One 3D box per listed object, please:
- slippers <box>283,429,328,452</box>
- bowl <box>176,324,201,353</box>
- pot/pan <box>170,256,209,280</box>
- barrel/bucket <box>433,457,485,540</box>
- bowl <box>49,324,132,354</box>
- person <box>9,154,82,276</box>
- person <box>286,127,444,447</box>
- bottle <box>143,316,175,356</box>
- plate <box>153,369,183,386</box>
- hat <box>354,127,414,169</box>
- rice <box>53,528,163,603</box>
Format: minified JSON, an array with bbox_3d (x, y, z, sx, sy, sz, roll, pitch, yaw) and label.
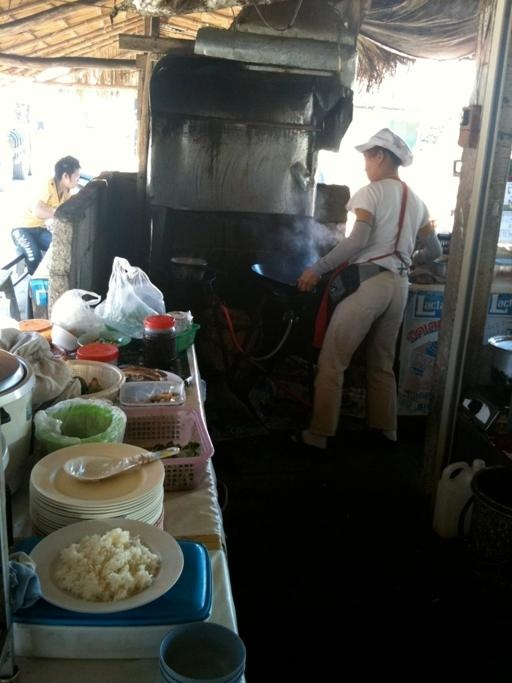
[{"bbox_3d":[0.392,0.728,4.065,0.364,0.166,0.125,1,3,25],"label":"slippers"},{"bbox_3d":[-0.347,-0.013,2.705,0.089,0.055,0.129,-18,5,-32],"label":"bowl"},{"bbox_3d":[-0.489,-0.539,4.016,0.252,0.139,0.436,0,15,-6],"label":"pot/pan"},{"bbox_3d":[1.112,0.849,2.984,0.224,0.505,0.443,8,15,25],"label":"barrel/bucket"},{"bbox_3d":[-0.812,-0.013,2.521,0.185,0.079,0.195,8,18,-3],"label":"bowl"},{"bbox_3d":[-2.608,-1.583,6.519,0.778,1.327,1.059,4,14,8],"label":"person"},{"bbox_3d":[0.870,-0.374,4.054,1.129,2.287,0.525,-10,18,-41],"label":"person"},{"bbox_3d":[-0.420,-0.034,2.405,0.140,0.162,0.147,4,21,-2],"label":"bottle"},{"bbox_3d":[-0.342,0.140,2.099,0.099,0.025,0.196,-2,15,-16],"label":"plate"},{"bbox_3d":[0.906,-1.323,3.781,0.331,0.173,0.230,27,26,-6],"label":"hat"},{"bbox_3d":[-0.260,0.415,1.009,0.160,0.160,0.073,2,-6,-38],"label":"rice"}]
